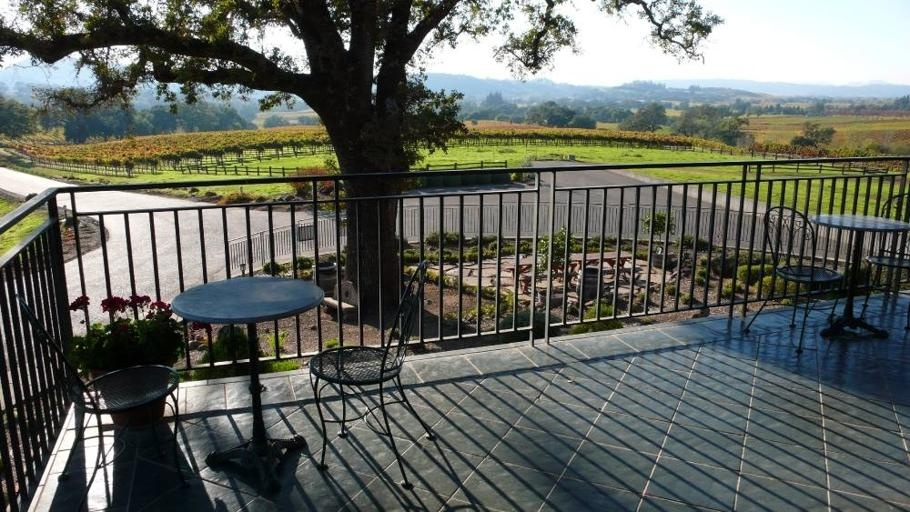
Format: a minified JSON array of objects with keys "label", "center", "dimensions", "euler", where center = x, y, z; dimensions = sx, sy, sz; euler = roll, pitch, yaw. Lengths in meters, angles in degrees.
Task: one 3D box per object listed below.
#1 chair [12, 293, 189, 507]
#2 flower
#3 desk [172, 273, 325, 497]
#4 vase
[{"label":"chair","center":[-3.589,1.518,6.275],"dimensions":[1.579,2.233,1.189],"euler":[-12,38,-33]},{"label":"flower","center":[-3.759,0.883,6.990],"dimensions":[1.075,0.693,1.068],"euler":[6,11,42]},{"label":"desk","center":[-2.314,1.470,6.901],"dimensions":[1.692,1.678,1.577],"euler":[16,24,32]},{"label":"vase","center":[-3.245,1.434,6.243],"dimensions":[0.812,0.516,0.762],"euler":[1,3,-9]}]
